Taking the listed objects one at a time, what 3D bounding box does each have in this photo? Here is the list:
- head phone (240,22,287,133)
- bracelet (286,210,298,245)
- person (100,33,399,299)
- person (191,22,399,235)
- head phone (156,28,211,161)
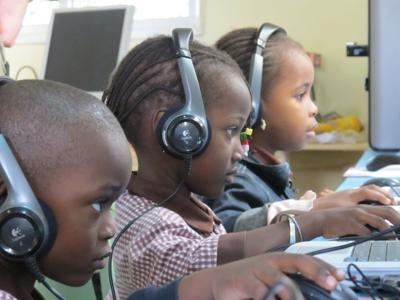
[{"bbox_3d":[0.194,-0.257,1.450,0.075,0.323,0.258,6,5,13],"label":"head phone"},{"bbox_3d":[0.196,0.173,0.944,0.011,0.049,0.035,0,-13,-12],"label":"bracelet"},{"bbox_3d":[0.069,0.014,1.208,0.646,0.739,0.531,-6,0,6],"label":"person"},{"bbox_3d":[0.261,-0.087,1.396,0.569,0.637,0.719,-1,6,13],"label":"person"},{"bbox_3d":[-0.040,-0.115,0.989,0.108,0.270,0.281,-11,-6,1],"label":"head phone"}]
